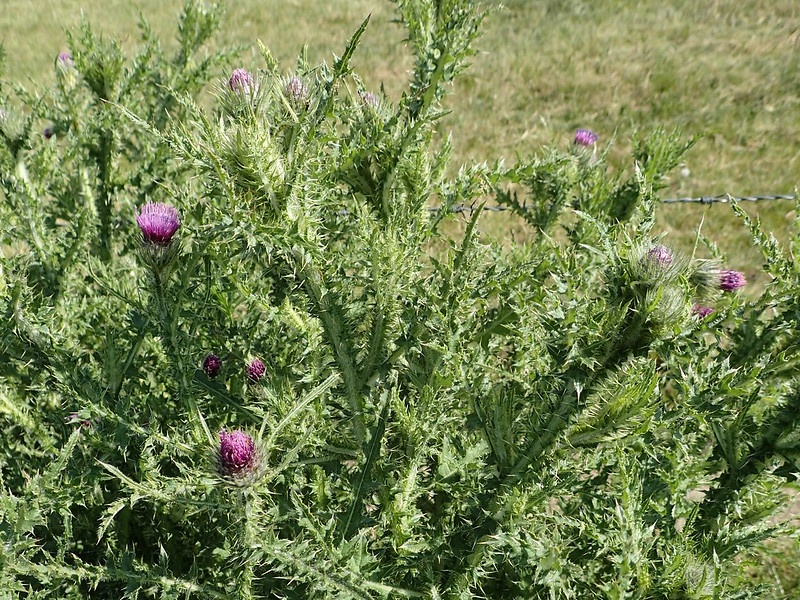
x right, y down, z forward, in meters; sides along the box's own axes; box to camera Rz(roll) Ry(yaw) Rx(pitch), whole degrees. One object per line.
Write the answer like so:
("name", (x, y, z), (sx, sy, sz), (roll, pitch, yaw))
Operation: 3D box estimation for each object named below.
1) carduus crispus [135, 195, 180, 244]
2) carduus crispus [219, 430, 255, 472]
("carduus crispus", (-1.237, -0.394, 5.714), (0.195, 0.222, 0.213), (4, 40, -10))
("carduus crispus", (-0.815, 0.744, 5.556), (0.164, 0.175, 0.186), (1, 66, -29))
